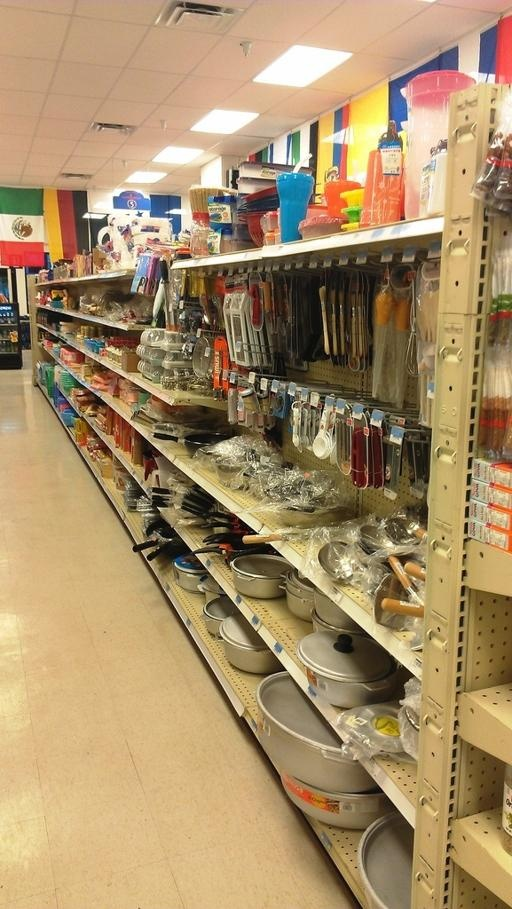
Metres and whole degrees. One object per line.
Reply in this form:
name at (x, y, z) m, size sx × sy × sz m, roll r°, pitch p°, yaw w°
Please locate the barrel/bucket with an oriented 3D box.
barrel/bucket at (0.309, -0.524, 0.999) m, size 0.112 × 0.239 × 0.110 m, roll 0°, pitch 7°, yaw 0°
